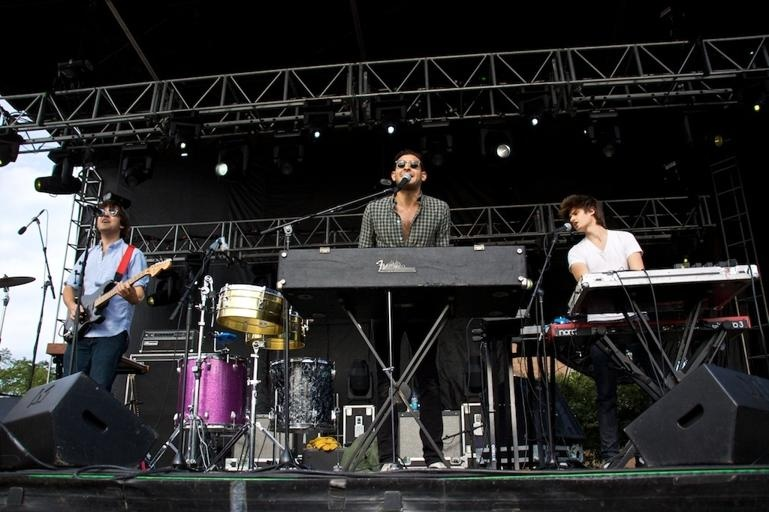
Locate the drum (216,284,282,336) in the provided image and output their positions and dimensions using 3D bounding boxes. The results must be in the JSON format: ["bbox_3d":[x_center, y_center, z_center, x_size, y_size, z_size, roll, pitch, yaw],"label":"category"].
[{"bbox_3d":[-1.354,0.523,7.735,0.587,0.296,0.617,3,-29,2],"label":"drum"}]

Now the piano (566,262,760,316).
[{"bbox_3d":[2.419,0.311,6.787,1.569,0.338,0.466,-4,-14,7],"label":"piano"}]

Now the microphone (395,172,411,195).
[{"bbox_3d":[0.155,-0.652,6.993,0.093,0.094,0.230,-15,18,37],"label":"microphone"}]

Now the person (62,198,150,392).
[{"bbox_3d":[-2.806,0.433,7.721,0.767,2.193,0.796,-1,-2,4],"label":"person"}]

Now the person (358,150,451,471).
[{"bbox_3d":[0.231,0.486,7.115,0.992,2.713,0.937,1,-2,3],"label":"person"}]

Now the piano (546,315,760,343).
[{"bbox_3d":[2.337,0.627,6.909,1.753,0.215,0.403,-6,-14,15],"label":"piano"}]

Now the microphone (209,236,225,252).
[{"bbox_3d":[-1.959,-0.117,8.986,0.281,0.152,0.360,-5,-4,-19],"label":"microphone"}]

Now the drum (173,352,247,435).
[{"bbox_3d":[-2.044,1.711,9.262,0.756,1.029,0.658,3,-3,-13],"label":"drum"}]

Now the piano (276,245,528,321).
[{"bbox_3d":[0.148,0.197,6.625,2.094,0.561,0.469,-2,-14,-1],"label":"piano"}]
